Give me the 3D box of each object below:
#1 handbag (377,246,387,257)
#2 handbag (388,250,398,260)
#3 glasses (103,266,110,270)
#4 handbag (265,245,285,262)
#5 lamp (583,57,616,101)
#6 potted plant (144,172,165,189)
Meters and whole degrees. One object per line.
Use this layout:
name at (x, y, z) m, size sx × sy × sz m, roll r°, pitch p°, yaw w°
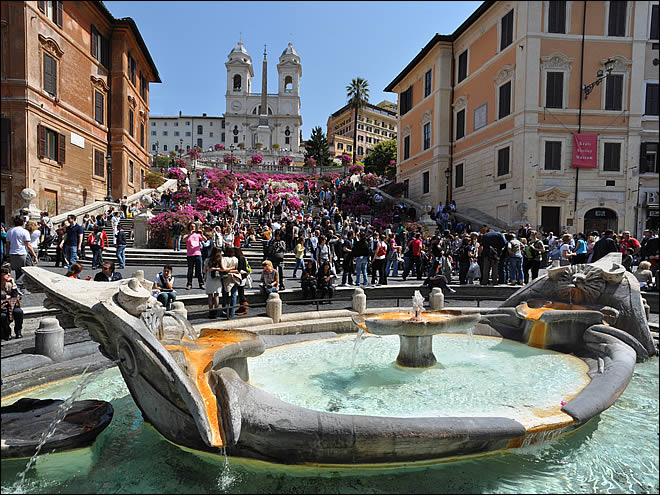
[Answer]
handbag at (1.689, 0.123, 18.578) m, size 0.227 × 0.156 × 0.302 m, roll -6°, pitch 4°, yaw 20°
handbag at (2.299, 0.275, 20.716) m, size 0.243 × 0.351 × 0.323 m, roll 0°, pitch -11°, yaw 2°
glasses at (-5.230, 0.512, 13.679) m, size 0.152 × 0.084 × 0.069 m, roll -3°, pitch -2°, yaw -10°
handbag at (-1.734, 0.205, 18.602) m, size 0.516 × 0.632 × 0.348 m, roll -3°, pitch -2°, yaw -1°
lamp at (13.732, -8.736, 29.052) m, size 1.374 × 1.805 × 1.806 m, roll -2°, pitch -2°, yaw -21°
potted plant at (-14.033, -5.555, 46.250) m, size 1.394 × 1.076 × 1.482 m, roll 8°, pitch 15°, yaw 29°
